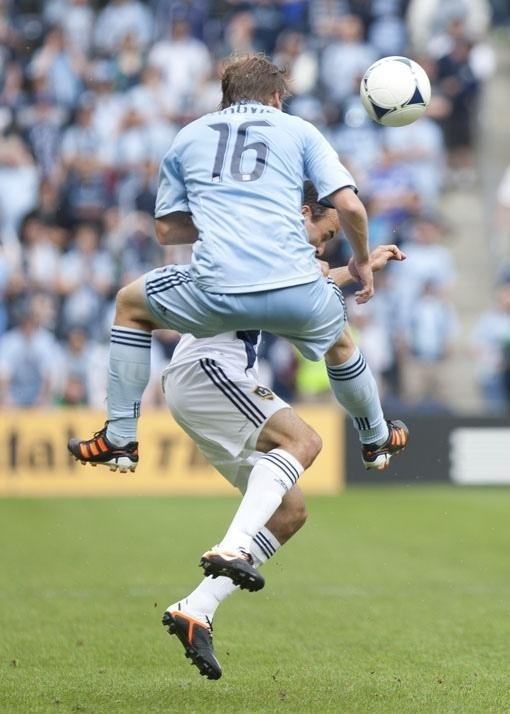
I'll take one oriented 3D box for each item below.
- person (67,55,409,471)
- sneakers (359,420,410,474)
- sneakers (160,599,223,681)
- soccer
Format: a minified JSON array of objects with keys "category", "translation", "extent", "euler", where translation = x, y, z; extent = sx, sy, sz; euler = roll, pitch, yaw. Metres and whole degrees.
[{"category":"person","translation":[-0.104,-0.415,3.839],"extent":[1.042,1.604,0.509],"euler":[-9,-16,33]},{"category":"sneakers","translation":[0.590,0.363,4.590],"extent":[0.134,0.154,0.332],"euler":[18,38,28]},{"category":"sneakers","translation":[-0.230,1.017,3.605],"extent":[0.203,0.276,0.247],"euler":[1,-13,-5]},{"category":"soccer","translation":[0.588,-1.196,4.631],"extent":[0.372,0.298,0.332],"euler":[2,7,1]}]
